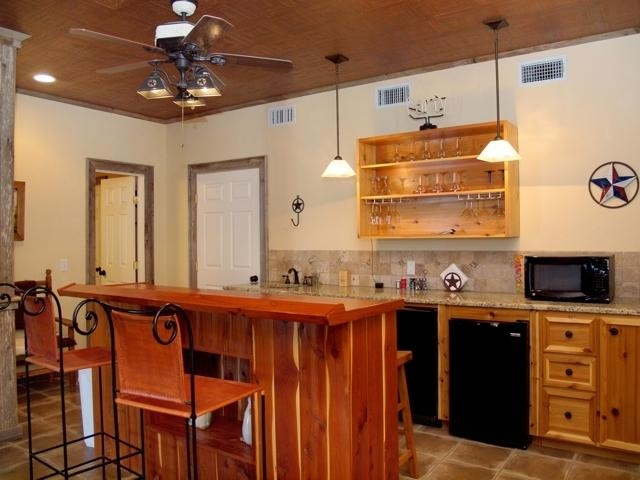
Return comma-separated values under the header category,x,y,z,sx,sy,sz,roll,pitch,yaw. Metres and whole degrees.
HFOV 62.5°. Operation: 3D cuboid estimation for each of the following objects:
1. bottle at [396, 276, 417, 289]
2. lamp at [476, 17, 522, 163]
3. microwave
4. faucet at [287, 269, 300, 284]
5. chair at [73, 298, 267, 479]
category,x,y,z,sx,sy,sz,roll,pitch,yaw
bottle,0.891,0.438,5.426,0.256,0.128,0.161,2,6,23
lamp,1.584,-1.271,4.603,0.317,1.179,0.862,2,6,20
microwave,2.101,0.325,4.518,0.654,0.433,0.377,-1,6,19
faucet,-0.304,0.422,6.140,0.152,0.145,0.080,-7,-11,42
chair,-0.907,0.997,3.203,0.950,1.352,0.653,4,8,38
